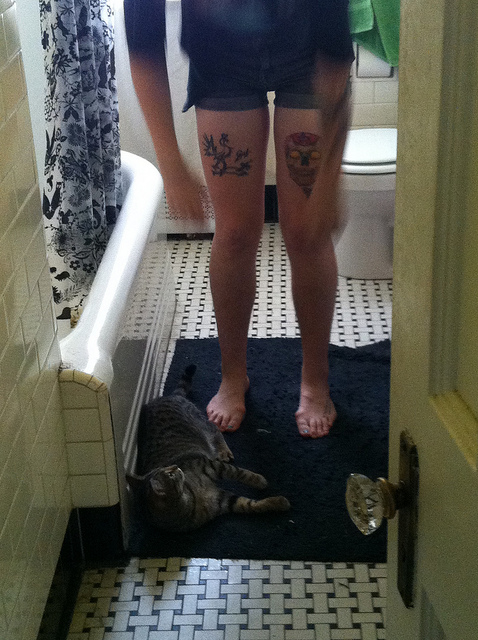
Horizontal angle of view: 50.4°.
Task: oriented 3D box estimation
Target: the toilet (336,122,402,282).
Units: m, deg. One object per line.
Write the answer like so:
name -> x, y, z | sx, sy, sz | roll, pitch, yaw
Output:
toilet -> 0.553, -0.480, 2.208 | 0.301, 0.508, 0.332 | -12, 29, -13

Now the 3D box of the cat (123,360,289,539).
cat -> -0.132, 0.344, 1.480 | 0.345, 0.287, 0.638 | -22, 23, -5

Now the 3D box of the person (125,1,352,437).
person -> 0.061, -0.214, 1.376 | 0.454, 1.171, 0.639 | 4, 34, 13

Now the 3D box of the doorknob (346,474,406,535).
doorknob -> 0.096, 0.130, 0.363 | 0.042, 0.061, 0.026 | 10, 35, 20
